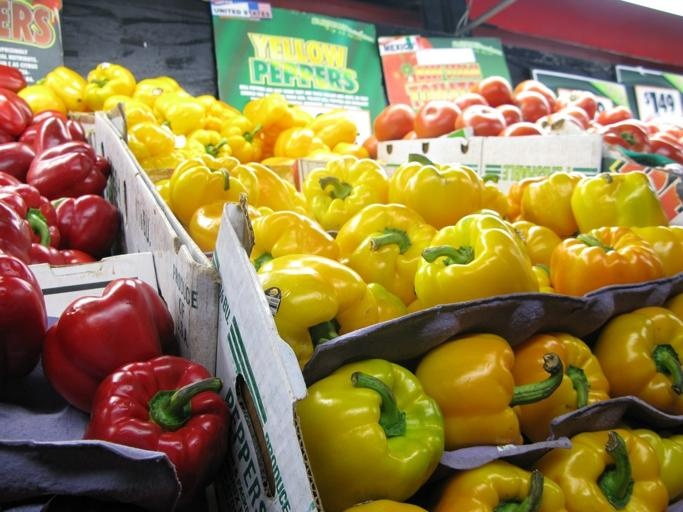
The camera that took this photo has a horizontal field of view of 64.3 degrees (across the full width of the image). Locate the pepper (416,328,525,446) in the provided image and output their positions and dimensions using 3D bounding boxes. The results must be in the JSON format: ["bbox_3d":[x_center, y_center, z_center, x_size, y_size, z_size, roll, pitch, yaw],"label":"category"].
[{"bbox_3d":[0.296,0.356,1.415,0.293,0.267,0.250,3,-23,-1],"label":"pepper"}]
